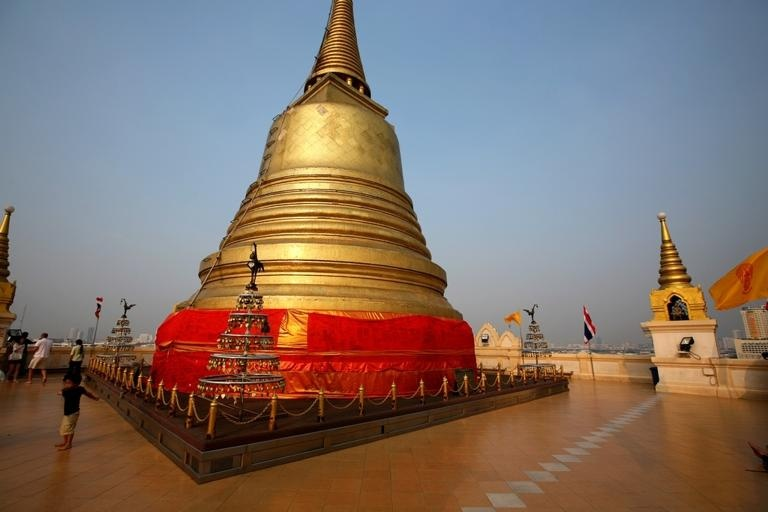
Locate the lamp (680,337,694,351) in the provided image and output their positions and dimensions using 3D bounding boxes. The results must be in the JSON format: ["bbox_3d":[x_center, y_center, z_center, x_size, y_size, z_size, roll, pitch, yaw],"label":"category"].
[{"bbox_3d":[11.115,3.300,13.171,0.293,0.250,0.505,18,24,24],"label":"lamp"}]
